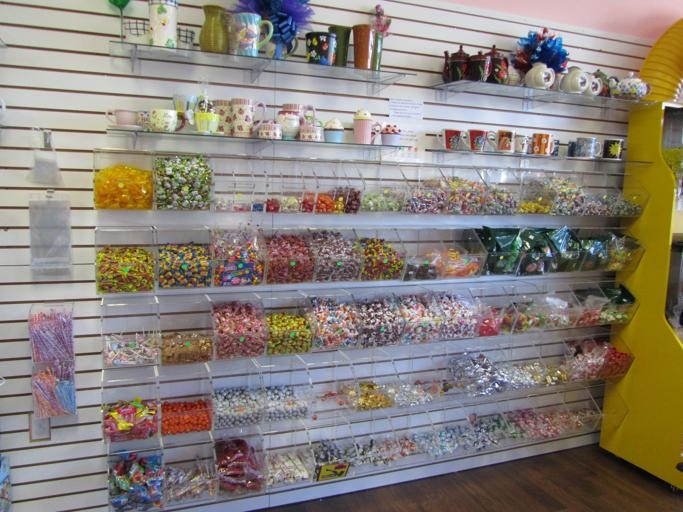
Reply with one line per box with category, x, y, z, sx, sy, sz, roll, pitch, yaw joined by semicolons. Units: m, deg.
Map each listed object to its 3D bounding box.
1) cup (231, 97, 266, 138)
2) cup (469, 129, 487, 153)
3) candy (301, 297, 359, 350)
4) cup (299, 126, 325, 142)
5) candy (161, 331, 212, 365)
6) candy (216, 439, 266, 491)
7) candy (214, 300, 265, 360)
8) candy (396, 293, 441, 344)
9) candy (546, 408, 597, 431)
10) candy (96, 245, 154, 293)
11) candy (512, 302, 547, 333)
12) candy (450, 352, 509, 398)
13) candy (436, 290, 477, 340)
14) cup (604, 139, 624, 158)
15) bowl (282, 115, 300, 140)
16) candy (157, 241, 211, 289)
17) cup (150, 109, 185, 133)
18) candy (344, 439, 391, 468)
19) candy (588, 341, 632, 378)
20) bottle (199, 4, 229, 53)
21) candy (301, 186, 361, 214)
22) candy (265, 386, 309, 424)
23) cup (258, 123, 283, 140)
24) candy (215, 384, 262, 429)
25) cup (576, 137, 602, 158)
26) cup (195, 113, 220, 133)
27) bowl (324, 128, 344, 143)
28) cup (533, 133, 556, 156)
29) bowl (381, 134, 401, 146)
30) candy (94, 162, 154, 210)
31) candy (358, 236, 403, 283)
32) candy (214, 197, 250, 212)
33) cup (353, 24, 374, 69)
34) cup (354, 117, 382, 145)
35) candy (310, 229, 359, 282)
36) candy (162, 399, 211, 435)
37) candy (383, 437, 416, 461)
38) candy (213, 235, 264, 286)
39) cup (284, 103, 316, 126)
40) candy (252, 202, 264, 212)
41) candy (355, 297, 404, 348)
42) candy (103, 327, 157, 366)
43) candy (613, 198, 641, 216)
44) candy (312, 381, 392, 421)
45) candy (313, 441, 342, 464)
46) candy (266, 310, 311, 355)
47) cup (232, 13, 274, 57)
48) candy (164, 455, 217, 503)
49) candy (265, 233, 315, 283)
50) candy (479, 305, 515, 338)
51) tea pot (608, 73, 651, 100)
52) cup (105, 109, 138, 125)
cup;-0.551;-0.818;3.142;0.206;0.216;0.116;-5;18;-18
cup;0.910;-0.789;3.609;0.162;0.130;0.132;5;10;31
candy;-0.052;0.422;3.353;0.294;0.270;0.239;-1;17;-4
cup;-0.198;-0.738;3.228;0.115;0.055;0.109;1;7;0
candy;-0.911;0.537;3.152;0.294;0.159;0.211;-3;17;-12
candy;-0.643;1.318;3.370;0.279;0.249;0.250;-4;17;-14
candy;-0.601;0.428;3.172;0.352;0.270;0.311;-1;3;-23
candy;0.486;0.413;3.538;0.325;0.175;0.298;-3;35;-13
candy;1.745;1.257;4.094;0.479;0.093;0.171;2;54;-13
candy;-1.214;0.070;2.993;0.322;0.254;0.181;3;-1;-28
candy;1.299;0.431;3.846;0.352;0.196;0.177;1;-7;-21
candy;0.981;0.854;3.853;0.328;0.098;0.322;-8;33;-29
candy;0.762;0.415;3.663;0.335;0.177;0.269;7;55;-10
cup;2.025;-0.809;4.014;0.180;0.126;0.124;2;9;10
bowl;-0.309;-0.782;3.207;0.121;0.148;0.085;-4;18;-13
candy;-0.911;0.019;3.061;0.304;0.163;0.246;-4;57;-21
cup;-0.976;-0.769;3.019;0.205;0.081;0.123;-2;7;3
candy;0.167;1.347;3.617;0.294;0.099;0.369;1;-3;-5
candy;2.036;0.777;4.154;0.305;0.246;0.291;-3;8;-29
bottle;-0.736;-1.306;3.068;0.168;0.265;0.149;-3;18;-10
candy;-0.077;-0.349;3.388;0.386;0.177;0.165;-3;17;-10
candy;-0.356;0.950;3.450;0.276;0.156;0.203;-2;16;-7
cup;-0.417;-0.734;3.126;0.121;0.059;0.111;0;5;0
candy;-0.657;0.941;3.354;0.293;0.175;0.253;-3;16;-11
cup;1.793;-0.803;3.912;0.213;0.131;0.130;-5;7;-29
cup;-0.761;-0.760;3.008;0.143;0.087;0.117;-1;7;5
bowl;-0.050;-0.746;3.290;0.108;0.053;0.097;-5;12;-19
cup;1.422;-0.799;3.803;0.195;0.136;0.135;-5;12;-18
bowl;0.317;-0.750;3.434;0.097;0.045;0.086;-1;9;-5
candy;-1.212;-0.385;2.990;0.301;0.161;0.300;-4;7;-41
candy;0.234;0.024;3.437;0.287;0.236;0.256;-3;17;-12
candy;-0.666;-0.317;3.243;0.226;0.084;0.049;-4;18;-16
cup;0.132;-1.311;3.333;0.125;0.272;0.140;0;18;1
cup;0.160;-0.794;3.396;0.195;0.157;0.133;-2;17;-9
candy;-0.055;-0.004;3.303;0.343;0.173;0.299;-2;36;-14
candy;-0.952;0.981;3.283;0.297;0.174;0.237;-4;17;-14
candy;0.399;1.324;3.704;0.230;0.058;0.152;-2;4;-34
candy;-0.664;0.019;3.183;0.352;0.275;0.308;-1;2;-15
cup;-0.247;-0.865;3.295;0.223;0.124;0.128;-1;2;-32
candy;-0.523;-0.307;3.332;0.101;0.057;0.048;0;17;-8
candy;0.198;0.430;3.421;0.315;0.167;0.282;-4;38;-10
candy;-1.203;0.470;3.056;0.357;0.189;0.173;0;-3;-6
candy;2.123;-0.362;4.015;0.179;0.052;0.153;15;21;32
candy;0.082;0.955;3.611;0.408;0.100;0.264;-4;7;-27
candy;-0.097;1.317;3.577;0.126;0.033;0.106;-1;19;-12
candy;-0.350;0.468;3.275;0.274;0.139;0.262;-3;7;-29
cup;-0.533;-1.289;3.131;0.256;0.236;0.264;0;16;0
candy;-0.937;1.380;3.277;0.333;0.176;0.193;0;60;-12
candy;-0.326;0.014;3.233;0.326;0.166;0.278;-2;40;-11
candy;1.072;0.451;3.688;0.255;0.131;0.221;-4;26;8
tea pot;2.096;-1.248;3.903;0.205;0.098;0.238;10;19;35
cup;-1.218;-0.773;2.981;0.176;0.093;0.104;-1;9;-24
